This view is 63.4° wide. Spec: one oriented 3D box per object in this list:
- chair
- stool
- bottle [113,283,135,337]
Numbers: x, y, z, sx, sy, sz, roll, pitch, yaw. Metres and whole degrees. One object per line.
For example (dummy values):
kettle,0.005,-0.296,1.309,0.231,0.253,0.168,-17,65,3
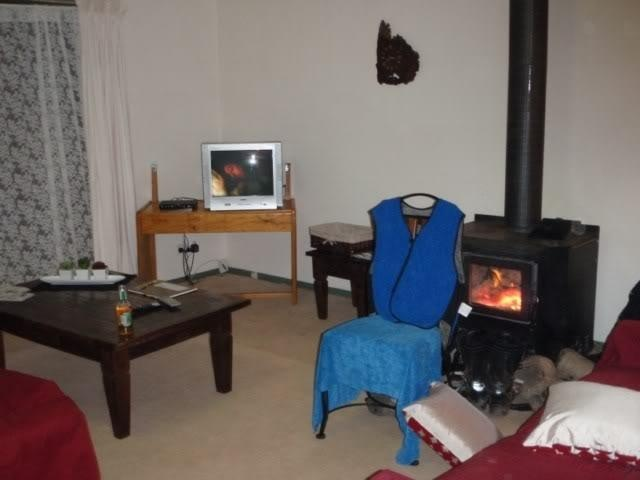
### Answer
chair,0.395,0.463,2.965,0.698,1.348,0.700,4,13,27
stool,0.253,0.405,4.486,0.533,0.510,0.537,4,9,31
bottle,-1.077,0.388,2.844,0.077,0.243,0.194,-6,12,-22
